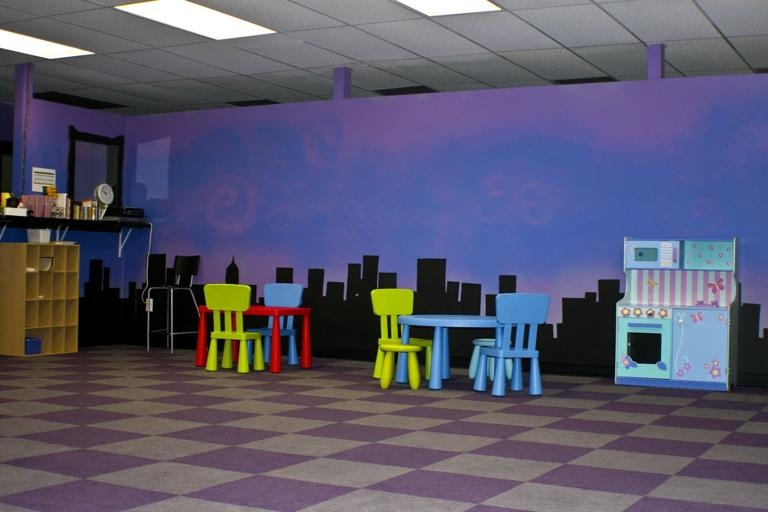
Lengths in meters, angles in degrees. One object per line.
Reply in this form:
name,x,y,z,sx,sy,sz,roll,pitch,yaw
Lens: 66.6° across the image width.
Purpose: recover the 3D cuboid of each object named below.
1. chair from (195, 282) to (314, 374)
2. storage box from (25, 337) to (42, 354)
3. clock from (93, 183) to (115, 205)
chair,-1.712,0.991,8.081,1.703,0.964,1.244,-1,-4,29
storage box,-5.218,1.333,8.693,0.237,0.184,0.270,-5,-6,41
clock,-4.720,-1.028,9.797,0.125,0.354,0.384,-13,-18,32
